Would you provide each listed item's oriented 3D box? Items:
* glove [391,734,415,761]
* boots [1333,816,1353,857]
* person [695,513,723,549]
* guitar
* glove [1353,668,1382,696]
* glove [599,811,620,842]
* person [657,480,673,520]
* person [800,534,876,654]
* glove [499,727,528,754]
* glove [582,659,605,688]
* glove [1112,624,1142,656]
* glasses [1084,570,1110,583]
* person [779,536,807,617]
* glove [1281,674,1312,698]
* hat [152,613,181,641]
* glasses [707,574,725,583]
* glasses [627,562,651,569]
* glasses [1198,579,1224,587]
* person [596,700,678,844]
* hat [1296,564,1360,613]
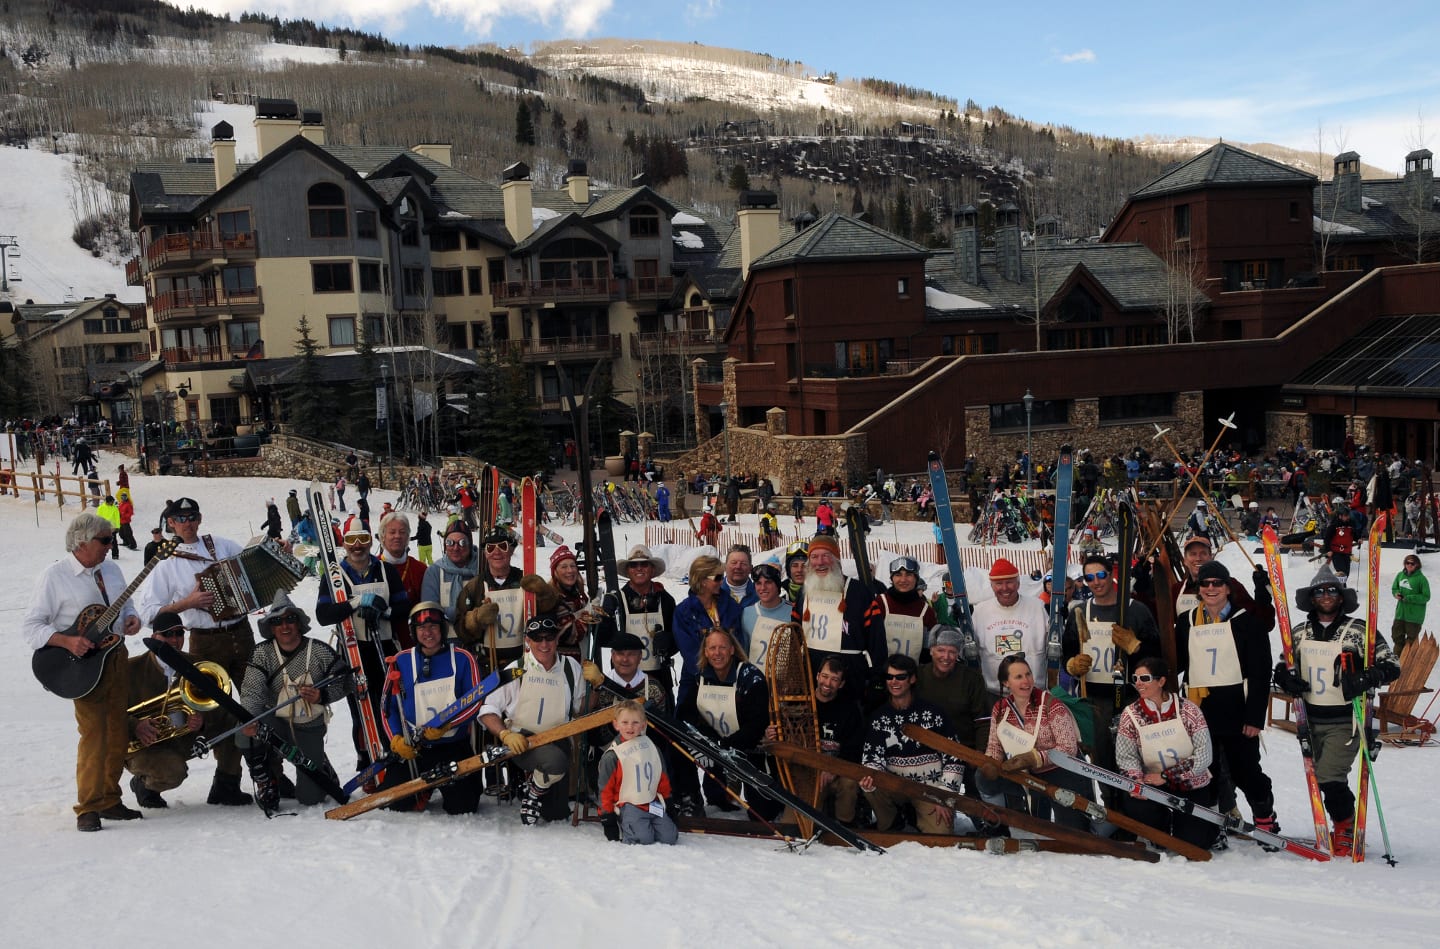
[{"bbox_3d":[-6.692,5.769,36.559,0.489,0.189,0.370,24,12,32],"label":"glove"},{"bbox_3d":[13.161,7.642,36.653,0.275,0.884,0.346,4,0,35],"label":"boots"},{"bbox_3d":[-0.387,1.955,58.551,1.030,1.965,0.601,1,3,6],"label":"person"},{"bbox_3d":[-13.036,3.211,36.961,1.699,4.655,0.486,40,-29,-10],"label":"guitar"},{"bbox_3d":[13.538,4.373,36.471,0.751,0.593,0.231,1,2,17],"label":"glove"},{"bbox_3d":[-2.313,7.394,36.327,0.426,0.468,0.188,-8,-4,34],"label":"glove"},{"bbox_3d":[-2.104,1.089,64.746,0.642,1.295,1.720,1,2,-2],"label":"person"},{"bbox_3d":[2.492,2.677,37.387,1.404,2.801,0.869,-19,-19,20],"label":"person"},{"bbox_3d":[-4.329,5.596,36.442,0.561,0.476,0.237,1,2,-7],"label":"glove"},{"bbox_3d":[-2.679,4.226,36.666,0.321,0.526,0.388,-42,13,-36],"label":"glove"},{"bbox_3d":[8.592,3.473,36.695,0.478,0.582,0.230,-35,-11,-44],"label":"glove"},{"bbox_3d":[8.012,2.194,36.923,0.469,0.220,0.146,1,2,13],"label":"glasses"},{"bbox_3d":[1.667,2.086,37.853,0.771,1.168,0.623,3,16,14],"label":"person"},{"bbox_3d":[12.163,4.442,36.756,0.523,0.460,0.177,5,4,-18],"label":"glove"},{"bbox_3d":[-11.679,3.198,36.680,0.421,0.604,0.586,5,-1,-18],"label":"hat"},{"bbox_3d":[-0.066,2.235,37.455,0.176,0.195,0.443,2,2,29],"label":"glasses"},{"bbox_3d":[-1.753,1.976,37.582,0.518,0.134,0.132,1,2,-5],"label":"glasses"},{"bbox_3d":[10.365,2.330,36.678,0.458,0.224,0.116,1,2,15],"label":"glasses"},{"bbox_3d":[-1.760,6.230,36.281,1.485,2.968,0.436,1,2,-5],"label":"person"},{"bbox_3d":[12.992,2.452,37.250,1.000,0.959,1.044,-1,-5,13],"label":"hat"}]
